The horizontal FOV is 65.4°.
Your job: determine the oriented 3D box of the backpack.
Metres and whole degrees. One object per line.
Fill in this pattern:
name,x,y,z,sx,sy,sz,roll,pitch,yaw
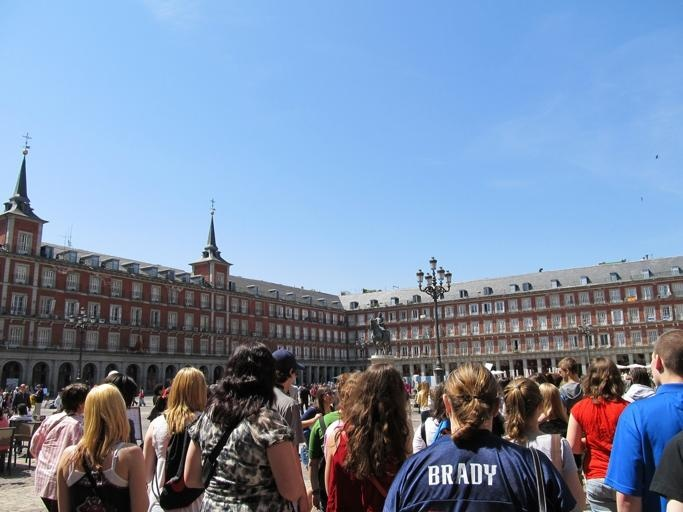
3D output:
backpack,-1.375,1.832,4.607,0.460,0.665,0.312,-12,-16,36

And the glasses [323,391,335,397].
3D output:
glasses,-0.139,1.702,6.609,0.038,0.069,0.190,-7,-14,21
